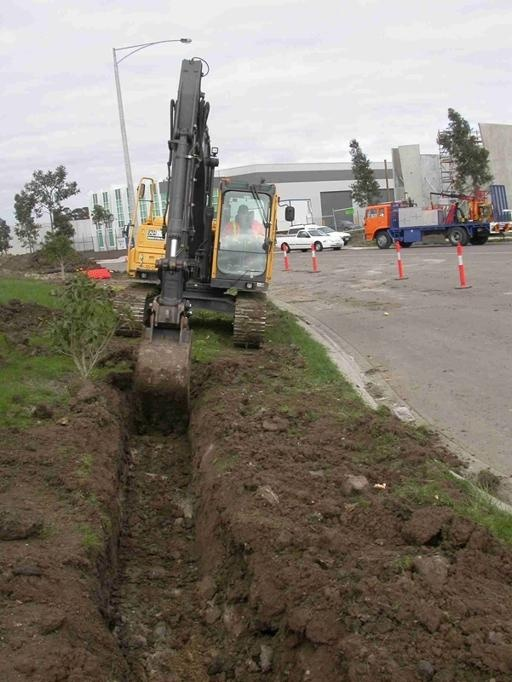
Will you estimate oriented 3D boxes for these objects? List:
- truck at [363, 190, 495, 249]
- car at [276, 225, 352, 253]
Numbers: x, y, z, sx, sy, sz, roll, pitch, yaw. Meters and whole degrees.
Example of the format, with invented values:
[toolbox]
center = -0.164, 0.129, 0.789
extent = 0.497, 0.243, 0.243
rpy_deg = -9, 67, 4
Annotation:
[truck]
center = 10.033, -6.815, 30.936
extent = 6.845, 2.995, 1.611
rpy_deg = 6, 15, 25
[car]
center = 3.524, -6.960, 37.307
extent = 5.588, 1.737, 2.580
rpy_deg = 9, 19, 42
